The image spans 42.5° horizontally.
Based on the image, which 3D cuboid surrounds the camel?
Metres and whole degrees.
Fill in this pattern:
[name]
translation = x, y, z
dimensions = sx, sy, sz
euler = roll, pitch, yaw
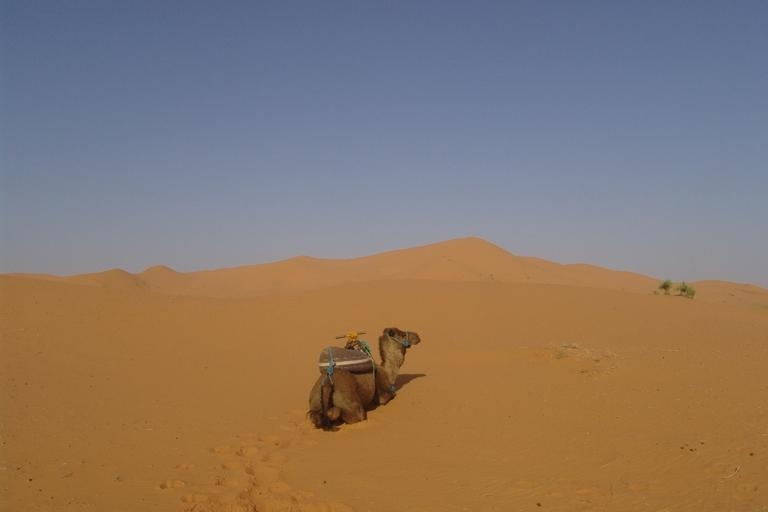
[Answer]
[camel]
translation = -0.600, 3.784, 32.491
dimensions = 1.838, 2.078, 5.221
euler = 13, 21, 32
